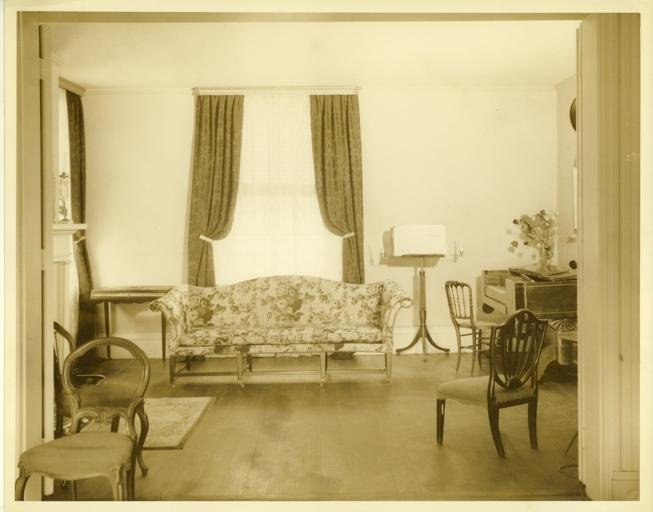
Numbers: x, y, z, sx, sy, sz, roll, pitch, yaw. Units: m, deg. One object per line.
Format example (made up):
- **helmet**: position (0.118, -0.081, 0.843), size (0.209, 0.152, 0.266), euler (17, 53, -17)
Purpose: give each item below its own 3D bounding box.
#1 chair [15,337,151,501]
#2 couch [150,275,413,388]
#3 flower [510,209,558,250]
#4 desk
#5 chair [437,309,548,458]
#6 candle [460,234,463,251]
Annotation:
- **chair**: position (-1.478, 1.080, 4.157), size (0.598, 1.107, 0.757), euler (2, 0, -2)
- **couch**: position (-0.437, 0.754, 6.571), size (2.346, 1.120, 0.741), euler (0, 1, -2)
- **flower**: position (2.282, -0.301, 7.127), size (0.323, 0.439, 0.370), euler (0, 0, 27)
- **desk**: position (-2.047, 0.814, 7.109), size (1.073, 0.862, 0.695), euler (0, -2, -6)
- **chair**: position (1.248, 0.902, 4.947), size (0.622, 1.069, 0.638), euler (-4, 5, -36)
- **candle**: position (1.511, -0.133, 7.382), size (0.037, 0.175, 0.038), euler (1, 11, 10)
